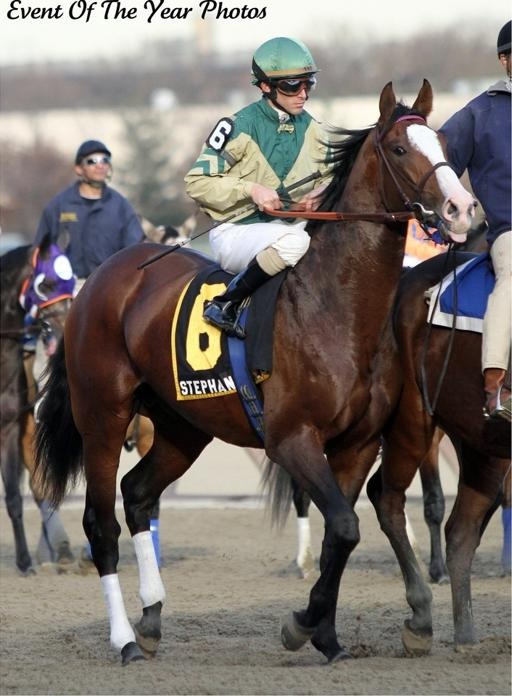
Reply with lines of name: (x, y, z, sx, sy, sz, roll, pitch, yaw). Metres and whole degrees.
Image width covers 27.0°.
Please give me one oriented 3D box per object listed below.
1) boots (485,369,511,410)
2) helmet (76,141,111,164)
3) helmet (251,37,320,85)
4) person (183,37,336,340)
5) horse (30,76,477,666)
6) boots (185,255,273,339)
boots: (0.830, 0.141, 3.676, 0.053, 0.127, 0.105, 12, -12, -34)
helmet: (-0.911, -1.110, 5.893, 0.135, 0.085, 0.172, 1, -28, -19)
helmet: (0.103, -1.104, 4.032, 0.178, 0.111, 0.234, -10, 7, -43)
person: (0.041, -0.545, 4.126, 0.611, 1.223, 0.559, -1, 11, 17)
horse: (-0.056, 0.120, 4.197, 2.552, 2.100, 0.636, -3, -5, 43)
boots: (-0.068, -0.184, 3.898, 0.264, 0.284, 0.142, -2, 6, 6)
